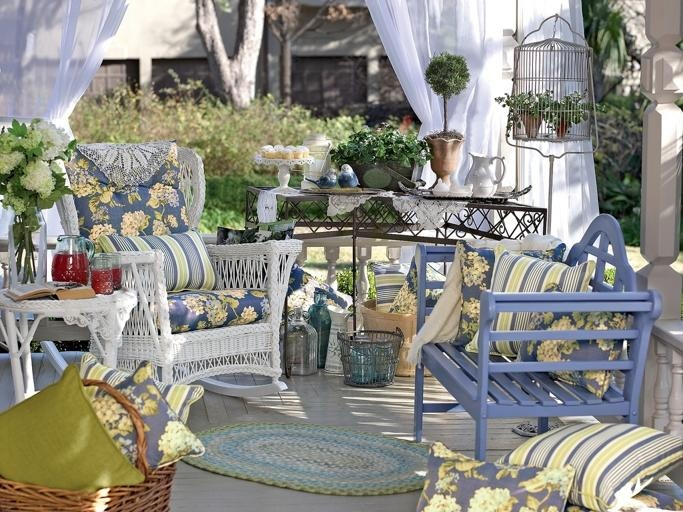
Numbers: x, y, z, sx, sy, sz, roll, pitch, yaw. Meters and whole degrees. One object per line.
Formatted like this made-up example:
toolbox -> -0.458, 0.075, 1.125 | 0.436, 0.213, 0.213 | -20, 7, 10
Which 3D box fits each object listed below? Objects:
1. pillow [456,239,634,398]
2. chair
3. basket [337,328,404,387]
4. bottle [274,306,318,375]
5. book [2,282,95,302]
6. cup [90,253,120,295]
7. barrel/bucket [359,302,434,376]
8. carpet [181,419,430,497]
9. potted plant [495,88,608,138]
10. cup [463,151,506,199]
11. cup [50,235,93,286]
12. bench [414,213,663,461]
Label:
pillow -> 0.899, 0.298, 5.123 | 0.159, 0.422, 0.573 | 14, 1, -28
chair -> -0.739, 0.080, 6.427 | 1.013, 1.696, 1.041 | 1, -1, -44
basket -> 0.256, 0.538, 6.480 | 0.267, 0.253, 0.277 | 0, 4, 10
bottle -> -0.230, 0.495, 6.666 | 0.211, 0.374, 0.222 | -1, 0, 0
book -> -1.317, 0.165, 5.222 | 0.414, 0.069, 0.141 | -2, 5, 6
cup -> -1.043, 0.078, 5.386 | 0.164, 0.190, 0.100 | 1, 0, 39
barrel/bucket -> 0.305, 0.468, 6.692 | 0.324, 0.433, 0.376 | 1, 3, 10
carpet -> -0.148, 0.958, 5.528 | 1.117, 0.207, 0.620 | -2, 5, 11
potted plant -> 1.274, -0.879, 7.154 | 0.610, 0.341, 1.031 | -2, 5, 8
cup -> 0.846, -0.483, 6.871 | 0.260, 0.340, 0.211 | 4, 0, -11
cup -> -1.224, 0.017, 5.390 | 0.203, 0.229, 0.211 | -2, 5, 0
bench -> 0.897, 0.422, 5.515 | 0.695, 1.400, 1.300 | 1, 8, -7
